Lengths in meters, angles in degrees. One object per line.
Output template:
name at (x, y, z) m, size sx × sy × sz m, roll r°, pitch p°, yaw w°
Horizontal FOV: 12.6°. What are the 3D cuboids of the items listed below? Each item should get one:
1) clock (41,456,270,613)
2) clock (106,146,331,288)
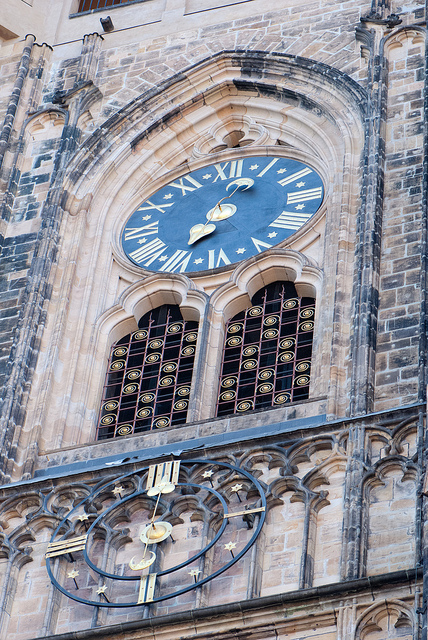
clock at (-0.494, 2.210, 19.616) m, size 2.243 × 1.994 × 0.215 m, roll -11°, pitch -65°, yaw 8°
clock at (0.142, -1.246, 24.652) m, size 2.428 × 2.124 × 0.152 m, roll -19°, pitch -62°, yaw 16°
